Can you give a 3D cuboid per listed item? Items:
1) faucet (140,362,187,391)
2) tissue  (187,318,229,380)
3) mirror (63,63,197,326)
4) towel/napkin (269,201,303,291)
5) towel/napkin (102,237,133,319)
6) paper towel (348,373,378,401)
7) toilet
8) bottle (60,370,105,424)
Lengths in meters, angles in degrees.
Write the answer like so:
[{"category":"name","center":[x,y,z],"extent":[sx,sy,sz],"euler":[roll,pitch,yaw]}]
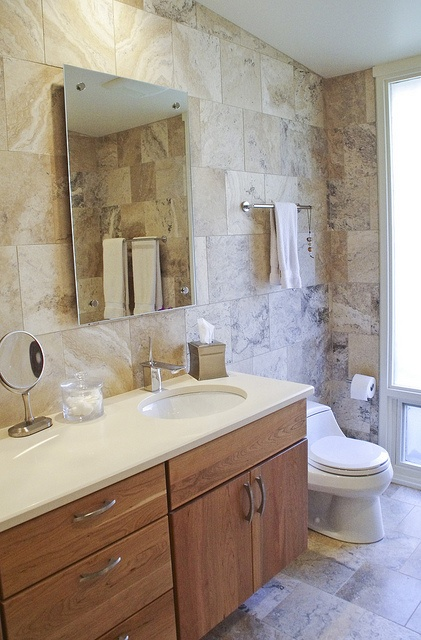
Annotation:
[{"category":"faucet","center":[-0.177,0.196,1.666],"extent":[0.068,0.103,0.213],"euler":[-6,5,-43]},{"category":"tissue ","center":[-0.010,0.107,1.862],"extent":[0.146,0.226,0.153],"euler":[-3,4,-13]},{"category":"mirror","center":[-0.251,-0.424,1.664],"extent":[0.058,0.835,0.620],"euler":[0,5,36]},{"category":"towel/napkin","center":[0.372,-0.370,2.377],"extent":[0.199,0.419,0.058],"euler":[-6,5,-41]},{"category":"towel/napkin","center":[-0.316,-0.137,1.593],"extent":[0.032,0.262,0.130],"euler":[0,4,30]},{"category":"paper towel","center":[0.892,0.396,2.789],"extent":[0.123,0.179,0.178],"euler":[3,-18,28]},{"category":"toilet","center":[0.610,0.732,2.315],"extent":[0.352,0.524,0.479],"euler":[-10,8,-36]},{"category":"bottle","center":[-0.364,0.219,1.384],"extent":[0.105,0.129,0.113],"euler":[-2,8,0]}]
